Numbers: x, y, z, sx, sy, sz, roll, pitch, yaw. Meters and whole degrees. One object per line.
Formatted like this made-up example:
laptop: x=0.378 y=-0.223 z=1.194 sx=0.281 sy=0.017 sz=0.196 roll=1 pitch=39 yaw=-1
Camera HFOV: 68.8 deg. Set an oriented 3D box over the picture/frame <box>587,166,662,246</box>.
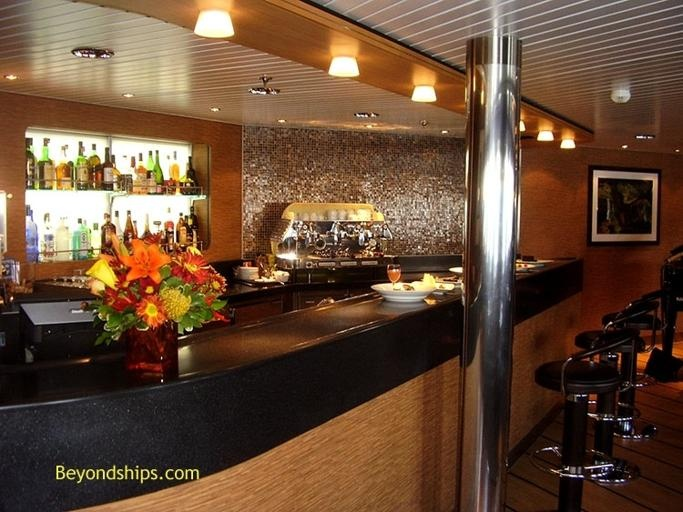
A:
picture/frame: x=4.435 y=-0.799 z=7.878 sx=1.440 sy=1.255 sz=0.046 roll=2 pitch=-4 yaw=-28
